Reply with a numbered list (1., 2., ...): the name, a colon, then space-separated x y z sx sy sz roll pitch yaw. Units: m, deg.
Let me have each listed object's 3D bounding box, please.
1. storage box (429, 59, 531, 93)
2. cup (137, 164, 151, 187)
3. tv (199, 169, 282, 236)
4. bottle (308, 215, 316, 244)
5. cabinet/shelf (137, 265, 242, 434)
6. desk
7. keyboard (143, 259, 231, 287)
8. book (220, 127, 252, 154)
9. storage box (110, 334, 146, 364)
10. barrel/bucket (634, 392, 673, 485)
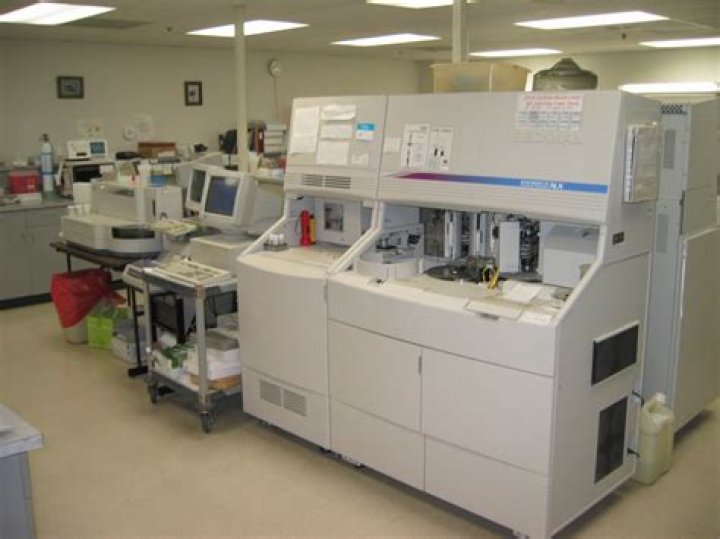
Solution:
1. storage box: 0.771 -1.120 3.366 0.381 0.129 0.341 -8 12 -41
2. cup: -1.917 -0.848 5.097 0.101 0.176 0.210 -5 15 -21
3. tv: -0.887 -0.510 4.281 0.519 0.401 0.498 15 17 41
4. bottle: -0.331 -0.279 4.006 0.045 0.195 0.079 -1 14 -5
5. cabinet/shelf: -1.216 0.592 4.103 0.474 0.906 1.009 -8 12 -41
6. desk: -2.331 0.381 5.109 0.545 0.726 1.030 -9 15 -44
7. keyboard: -1.212 0.011 4.051 0.650 0.083 0.317 13 19 40
8. book: -1.777 -1.837 8.177 0.328 0.339 0.934 -5 16 -21
9. storage box: -2.033 0.659 5.027 0.255 0.160 0.258 12 12 39
10. barrel/bucket: 1.739 1.013 3.385 0.159 0.440 0.309 13 19 41
